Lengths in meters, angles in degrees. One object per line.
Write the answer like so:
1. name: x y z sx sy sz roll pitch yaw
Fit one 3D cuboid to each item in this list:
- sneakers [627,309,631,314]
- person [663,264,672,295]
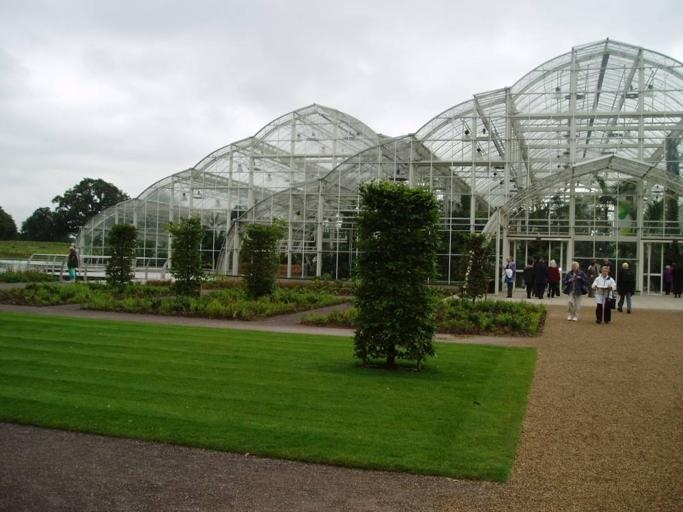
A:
1. sneakers: 10.907 2.146 24.009 0.172 0.126 0.099 -2 -3 5
2. person: 18.210 1.396 35.361 0.413 1.659 1.457 2 6 27
